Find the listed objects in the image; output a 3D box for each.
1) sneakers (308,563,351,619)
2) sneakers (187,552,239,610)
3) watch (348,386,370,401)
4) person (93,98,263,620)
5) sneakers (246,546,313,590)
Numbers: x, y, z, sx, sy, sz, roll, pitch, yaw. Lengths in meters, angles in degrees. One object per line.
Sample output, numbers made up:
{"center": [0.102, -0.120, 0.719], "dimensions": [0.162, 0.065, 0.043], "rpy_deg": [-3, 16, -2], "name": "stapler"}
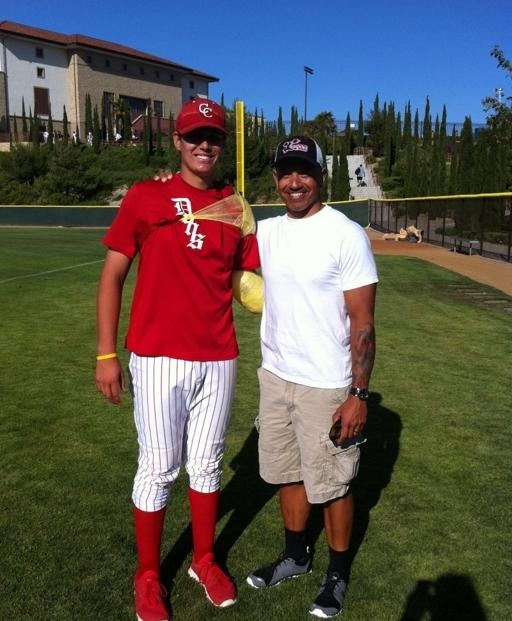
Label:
{"center": [0.303, 1.128, 1.958], "dimensions": [0.116, 0.110, 0.236], "rpy_deg": [4, 8, 25], "name": "sneakers"}
{"center": [-0.185, 1.103, 2.023], "dimensions": [0.111, 0.136, 0.295], "rpy_deg": [7, 6, -38], "name": "sneakers"}
{"center": [0.401, 0.319, 1.897], "dimensions": [0.048, 0.040, 0.062], "rpy_deg": [7, 6, -31], "name": "watch"}
{"center": [-0.281, 0.160, 1.908], "dimensions": [0.669, 2.048, 0.382], "rpy_deg": [-2, 6, -22], "name": "person"}
{"center": [0.103, 1.130, 2.158], "dimensions": [0.331, 0.147, 0.107], "rpy_deg": [-2, 3, -31], "name": "sneakers"}
